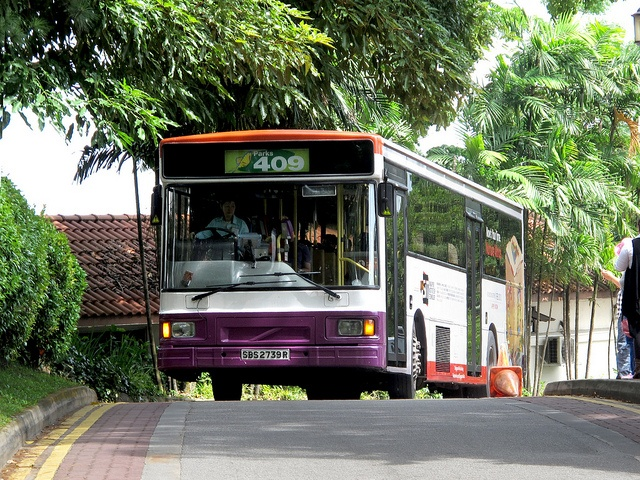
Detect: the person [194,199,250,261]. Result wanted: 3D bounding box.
[{"bbox_3d":[-1.613,-0.107,9.984,0.526,0.905,0.949,-1,-8,9],"label":"person"}]
